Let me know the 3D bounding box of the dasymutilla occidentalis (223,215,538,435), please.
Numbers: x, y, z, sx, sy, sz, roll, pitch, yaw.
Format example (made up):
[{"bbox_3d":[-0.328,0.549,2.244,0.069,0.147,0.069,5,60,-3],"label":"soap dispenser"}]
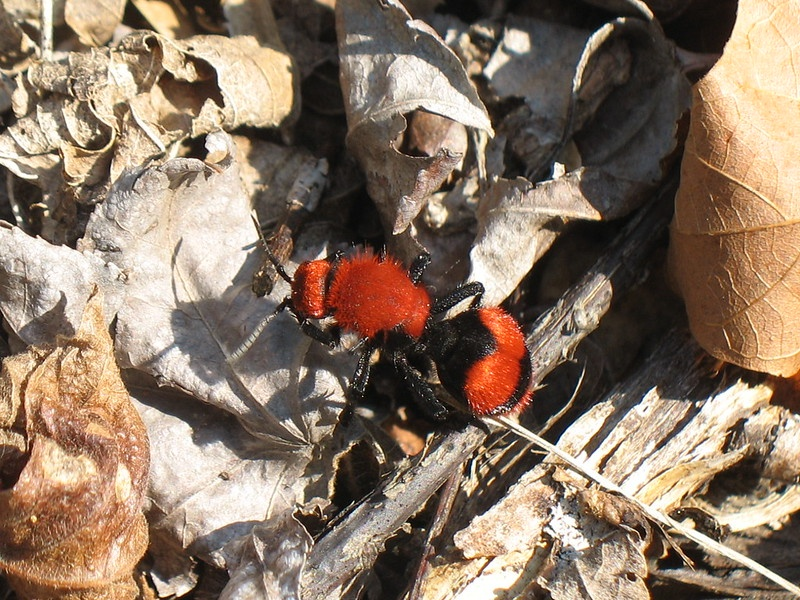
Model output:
[{"bbox_3d":[0.036,0.156,4.417,1.214,0.406,0.712,20,77,-1],"label":"dasymutilla occidentalis"}]
